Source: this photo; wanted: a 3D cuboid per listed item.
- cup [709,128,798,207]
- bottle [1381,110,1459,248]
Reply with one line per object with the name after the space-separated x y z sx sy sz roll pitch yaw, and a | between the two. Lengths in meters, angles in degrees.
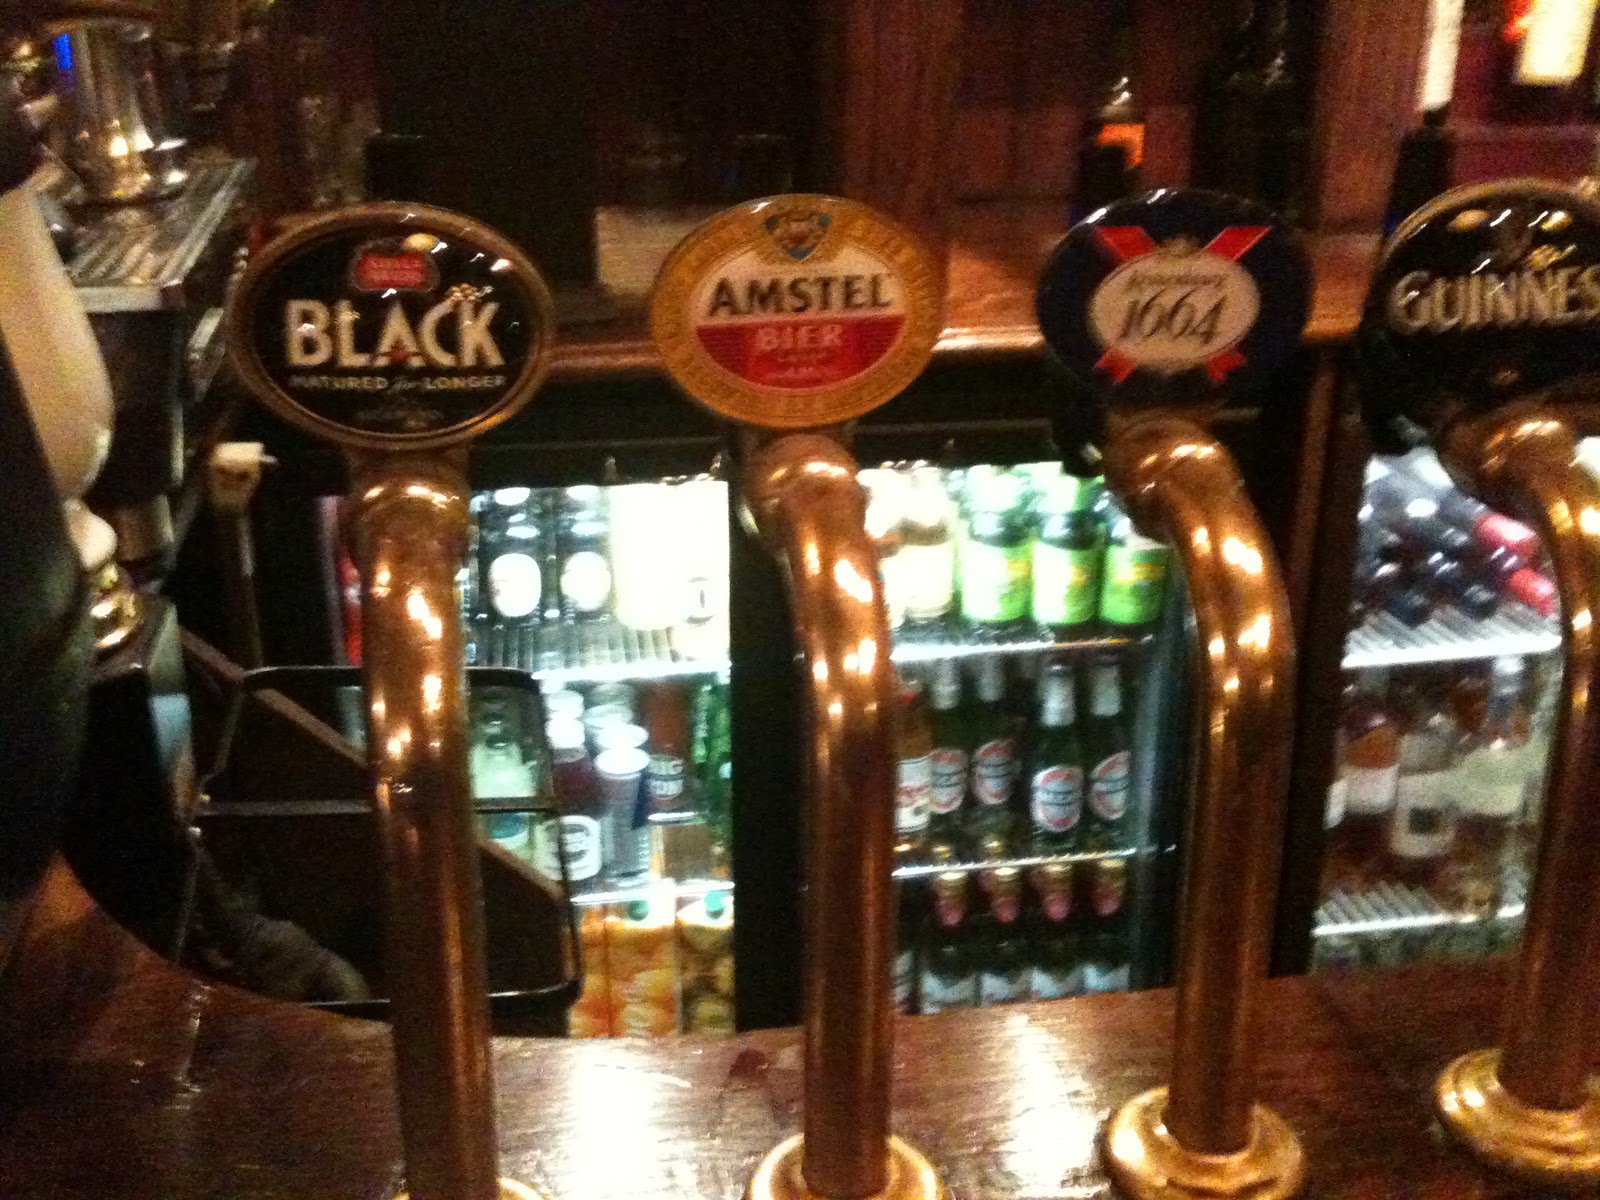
-0.022 -0.210 0.718 0.041 0.032 0.037 1 14 4 | cup
0.325 -0.225 0.777 0.055 0.062 0.026 -16 25 -28 | bottle
